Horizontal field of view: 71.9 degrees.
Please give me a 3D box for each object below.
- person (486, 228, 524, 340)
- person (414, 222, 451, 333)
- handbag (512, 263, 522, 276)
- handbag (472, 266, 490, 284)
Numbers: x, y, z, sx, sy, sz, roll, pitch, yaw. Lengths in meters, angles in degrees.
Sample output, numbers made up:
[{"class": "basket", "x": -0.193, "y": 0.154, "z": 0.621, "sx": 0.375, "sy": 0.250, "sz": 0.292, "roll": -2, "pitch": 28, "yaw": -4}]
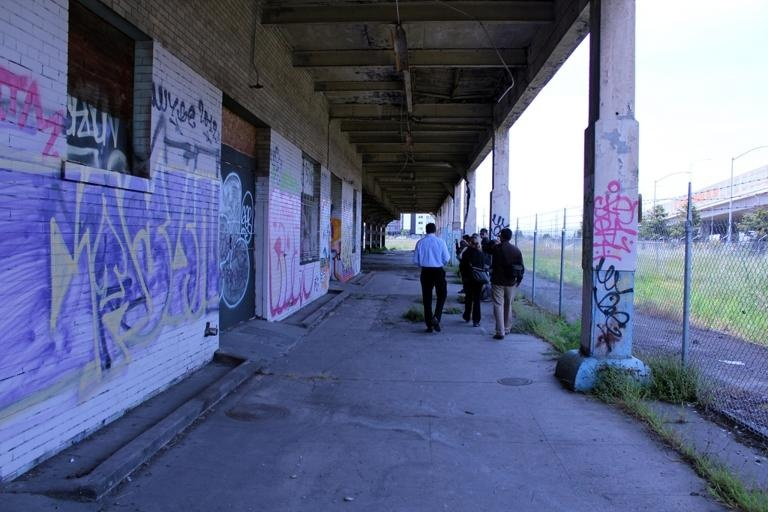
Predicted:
[{"class": "person", "x": 2.461, "y": 0.556, "z": 10.673, "sx": 0.623, "sy": 2.217, "sz": 0.721, "roll": -1, "pitch": 10, "yaw": -8}, {"class": "person", "x": 0.988, "y": 0.488, "z": 11.162, "sx": 0.663, "sy": 2.301, "sz": 0.647, "roll": 2, "pitch": 10, "yaw": 9}, {"class": "handbag", "x": 2.613, "y": 0.293, "z": 10.388, "sx": 0.213, "sy": 0.234, "sz": 0.162, "roll": 0, "pitch": -2, "yaw": -3}, {"class": "handbag", "x": 2.129, "y": 0.452, "z": 11.749, "sx": 0.356, "sy": 0.391, "sz": 0.286, "roll": -10, "pitch": -1, "yaw": 2}]
